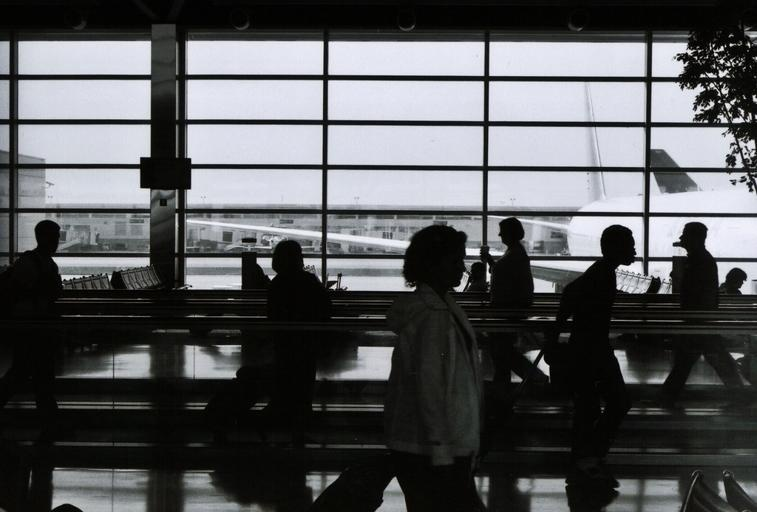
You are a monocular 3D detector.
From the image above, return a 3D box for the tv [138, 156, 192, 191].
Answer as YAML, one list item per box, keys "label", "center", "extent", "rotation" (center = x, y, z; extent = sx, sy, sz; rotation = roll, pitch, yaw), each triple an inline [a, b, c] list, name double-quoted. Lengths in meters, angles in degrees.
- label: "tv"
  center: [-3.792, -1.469, 19.541]
  extent: [0.928, 0.533, 0.597]
  rotation: [1, -2, -1]

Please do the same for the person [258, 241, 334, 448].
- label: "person"
  center: [-0.938, 0.978, 12.697]
  extent: [0.749, 2.209, 1.049]
  rotation: [1, -26, -8]
